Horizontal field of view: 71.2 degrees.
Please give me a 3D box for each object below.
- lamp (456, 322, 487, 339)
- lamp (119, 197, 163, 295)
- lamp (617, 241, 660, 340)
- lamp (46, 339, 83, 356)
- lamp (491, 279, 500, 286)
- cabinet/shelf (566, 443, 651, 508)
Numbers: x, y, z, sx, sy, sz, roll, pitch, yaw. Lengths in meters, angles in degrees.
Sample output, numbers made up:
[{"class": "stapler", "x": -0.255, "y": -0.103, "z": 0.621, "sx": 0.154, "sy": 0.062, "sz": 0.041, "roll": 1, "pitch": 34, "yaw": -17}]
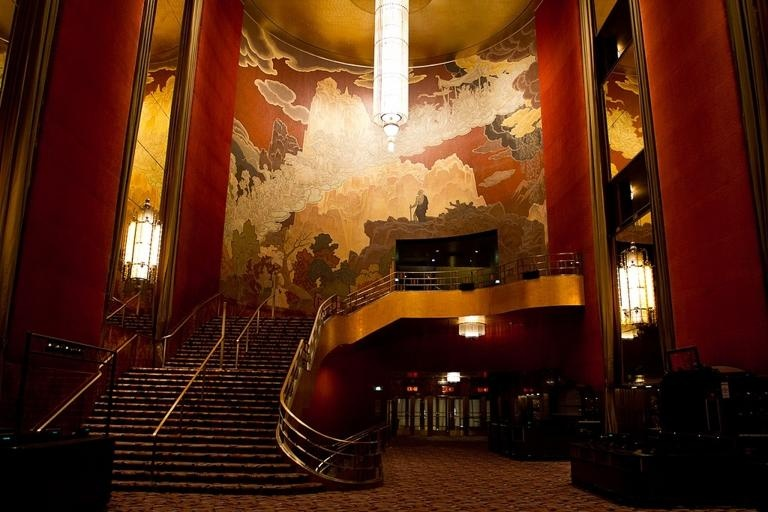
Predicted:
[{"class": "lamp", "x": 2.950, "y": 2.512, "z": 18.262, "sx": 0.677, "sy": 0.353, "sz": 0.700, "roll": 0, "pitch": -13, "yaw": -1}, {"class": "lamp", "x": -6.134, "y": -0.439, "z": 13.718, "sx": 0.877, "sy": 2.221, "sz": 0.650, "roll": -12, "pitch": -22, "yaw": 39}, {"class": "lamp", "x": 5.724, "y": 0.666, "z": 12.186, "sx": 0.714, "sy": 1.783, "sz": 0.524, "roll": -6, "pitch": -19, "yaw": 26}, {"class": "lamp", "x": -4.643, "y": 1.337, "z": 7.795, "sx": 0.183, "sy": 0.191, "sz": 0.502, "roll": -14, "pitch": -23, "yaw": 42}, {"class": "lamp", "x": 3.887, "y": 0.953, "z": 18.320, "sx": 0.291, "sy": 0.233, "sz": 0.445, "roll": -3, "pitch": -2, "yaw": 1}, {"class": "cabinet/shelf", "x": 4.056, "y": 3.903, "z": 9.731, "sx": 0.337, "sy": 0.950, "sz": 1.801, "roll": 6, "pitch": -18, "yaw": -13}]
